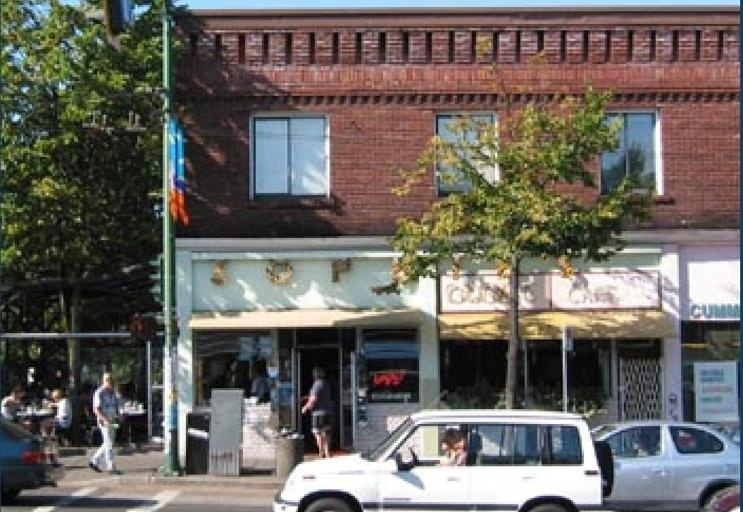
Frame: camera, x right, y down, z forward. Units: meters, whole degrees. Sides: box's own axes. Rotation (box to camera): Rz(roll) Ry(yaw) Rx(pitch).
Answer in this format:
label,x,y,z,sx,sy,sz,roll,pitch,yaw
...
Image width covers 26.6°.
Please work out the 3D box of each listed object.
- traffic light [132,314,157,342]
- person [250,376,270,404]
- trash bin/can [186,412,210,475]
label,x,y,z,sx,sy,sz,roll,pitch,yaw
traffic light,-5.884,1.798,40.557,0.646,0.718,0.571,1,9,18
person,-3.142,3.739,44.147,0.679,1.200,0.187,0,-3,-3
trash bin/can,-4.688,5.053,42.300,0.695,1.683,0.382,-1,-9,-5
